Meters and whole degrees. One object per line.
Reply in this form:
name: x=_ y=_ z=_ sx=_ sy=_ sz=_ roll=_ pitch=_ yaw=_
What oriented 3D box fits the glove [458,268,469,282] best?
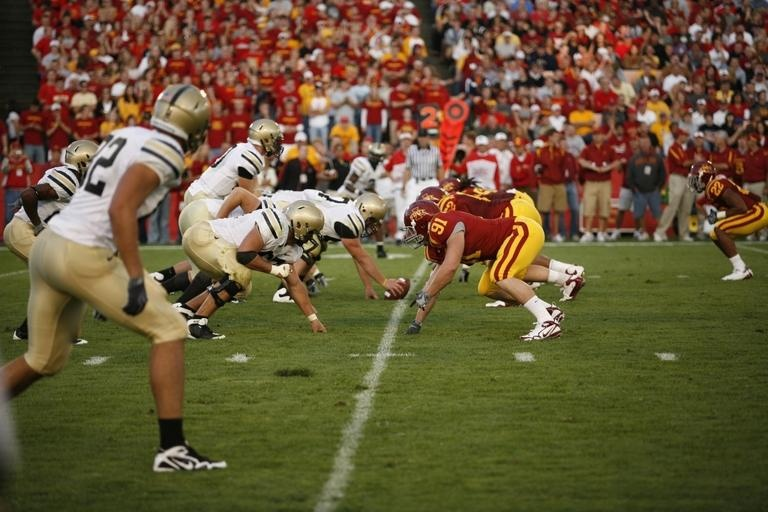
glove: x=1.010 y=0.233 z=10.972 sx=0.117 sy=0.176 sz=0.176 roll=8 pitch=2 yaw=-5

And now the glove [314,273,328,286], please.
glove: x=-0.754 y=0.265 z=10.559 sx=0.227 sy=0.078 sz=0.097 roll=31 pitch=-50 yaw=-21

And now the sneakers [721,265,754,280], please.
sneakers: x=4.324 y=0.186 z=10.618 sx=0.448 sy=0.194 sz=0.150 roll=-6 pitch=3 yaw=-5

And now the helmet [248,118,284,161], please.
helmet: x=-1.242 y=-1.236 z=9.092 sx=0.420 sy=0.399 sz=0.319 roll=2 pitch=9 yaw=-20

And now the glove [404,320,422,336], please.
glove: x=0.265 y=0.662 z=8.030 sx=0.106 sy=0.123 sz=0.141 roll=8 pitch=-30 yaw=-9

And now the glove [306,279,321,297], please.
glove: x=-0.825 y=0.350 z=10.030 sx=0.240 sy=0.082 sz=0.101 roll=32 pitch=-35 yaw=-15

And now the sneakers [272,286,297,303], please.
sneakers: x=-1.163 y=0.420 z=9.678 sx=0.201 sy=0.164 sz=0.334 roll=-6 pitch=14 yaw=-23

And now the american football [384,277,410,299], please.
american football: x=0.135 y=0.367 z=9.564 sx=0.245 sy=0.164 sz=0.193 roll=-24 pitch=4 yaw=21

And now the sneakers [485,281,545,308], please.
sneakers: x=1.224 y=0.365 z=8.319 sx=0.344 sy=0.156 sz=0.115 roll=-33 pitch=14 yaw=16

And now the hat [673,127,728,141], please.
hat: x=5.582 y=-2.160 z=15.388 sx=0.894 sy=0.205 sz=0.716 roll=4 pitch=13 yaw=17

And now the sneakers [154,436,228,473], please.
sneakers: x=-1.269 y=1.276 z=5.609 sx=0.522 sy=0.227 sz=0.180 roll=1 pitch=-5 yaw=-6

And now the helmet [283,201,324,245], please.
helmet: x=-0.667 y=-0.323 z=7.575 sx=0.391 sy=0.336 sz=0.300 roll=16 pitch=22 yaw=30

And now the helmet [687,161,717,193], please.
helmet: x=4.110 y=-1.056 z=11.209 sx=0.386 sy=0.379 sz=0.322 roll=-7 pitch=8 yaw=10

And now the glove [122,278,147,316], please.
glove: x=-1.519 y=0.243 z=5.291 sx=0.159 sy=0.213 sz=0.118 roll=4 pitch=-1 yaw=1

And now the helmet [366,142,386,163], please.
helmet: x=-0.114 y=-1.450 z=12.212 sx=0.212 sy=0.257 sz=0.246 roll=12 pitch=-27 yaw=-7

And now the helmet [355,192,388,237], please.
helmet: x=-0.144 y=-0.448 z=8.857 sx=0.385 sy=0.378 sz=0.304 roll=4 pitch=23 yaw=-9

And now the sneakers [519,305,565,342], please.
sneakers: x=1.428 y=0.603 z=7.851 sx=0.486 sy=0.233 sz=0.274 roll=-8 pitch=15 yaw=-30
